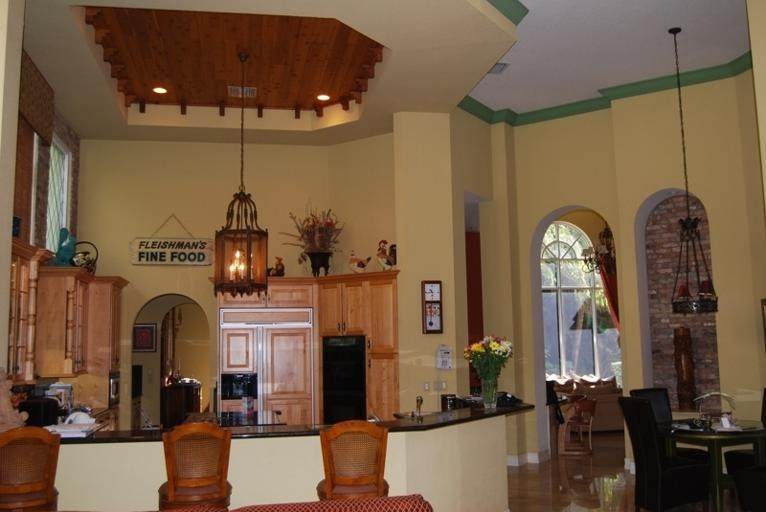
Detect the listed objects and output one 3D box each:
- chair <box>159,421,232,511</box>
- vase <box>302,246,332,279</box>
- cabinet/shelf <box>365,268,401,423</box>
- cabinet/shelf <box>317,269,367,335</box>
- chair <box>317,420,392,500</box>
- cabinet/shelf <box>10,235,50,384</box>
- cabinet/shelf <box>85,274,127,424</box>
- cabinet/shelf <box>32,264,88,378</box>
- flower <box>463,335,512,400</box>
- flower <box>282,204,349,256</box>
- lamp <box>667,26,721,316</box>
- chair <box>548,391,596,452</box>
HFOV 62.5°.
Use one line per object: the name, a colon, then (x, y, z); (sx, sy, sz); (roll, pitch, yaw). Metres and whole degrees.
chair: (-1.724, 1.898, 5.735); (0.630, 0.765, 0.432); (0, -10, -14)
vase: (-1.074, 0.070, 10.044); (0.427, 0.327, 0.431); (-2, -3, -11)
cabinet/shelf: (-0.059, 1.352, 9.551); (0.576, 2.321, 0.383); (-1, 13, -6)
cabinet/shelf: (-0.630, 0.739, 9.751); (0.840, 0.936, 0.447); (-6, -13, 26)
chair: (-0.281, 1.890, 6.156); (0.707, 1.039, 0.706); (0, -3, -7)
cabinet/shelf: (-4.103, 0.662, 7.314); (0.282, 1.563, 0.930); (1, -10, -18)
cabinet/shelf: (-4.166, 1.288, 9.475); (0.476, 1.973, 0.671); (1, -10, -15)
cabinet/shelf: (-4.340, 0.841, 8.380); (0.553, 1.464, 1.474); (1, -5, -10)
flower: (1.283, 1.372, 7.678); (0.538, 0.793, 0.344); (-3, -10, 6)
flower: (-1.066, -0.455, 10.415); (1.056, 0.875, 1.121); (-6, -7, -12)
lamp: (4.277, -1.022, 9.033); (0.586, 3.755, 2.345); (-6, -10, 24)
chair: (3.387, 2.966, 11.227); (0.907, 1.277, 1.223); (0, -8, 15)
